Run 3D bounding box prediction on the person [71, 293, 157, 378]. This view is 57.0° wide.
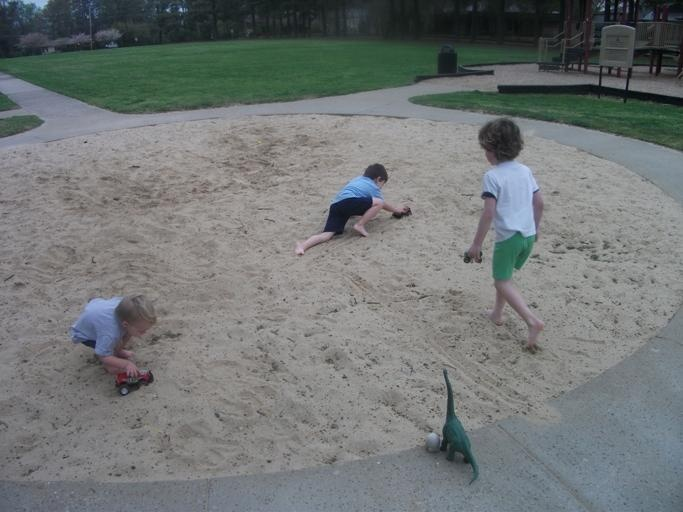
[{"bbox_3d":[-2.302,0.776,6.381,0.818,0.854,0.481,18,29,31],"label":"person"}]

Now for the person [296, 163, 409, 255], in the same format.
[{"bbox_3d":[0.025,-0.726,8.857,1.058,0.838,1.935,19,35,42],"label":"person"}]

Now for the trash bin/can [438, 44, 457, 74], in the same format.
[{"bbox_3d":[3.878,-7.191,23.005,0.750,0.951,0.872,17,28,30],"label":"trash bin/can"}]
